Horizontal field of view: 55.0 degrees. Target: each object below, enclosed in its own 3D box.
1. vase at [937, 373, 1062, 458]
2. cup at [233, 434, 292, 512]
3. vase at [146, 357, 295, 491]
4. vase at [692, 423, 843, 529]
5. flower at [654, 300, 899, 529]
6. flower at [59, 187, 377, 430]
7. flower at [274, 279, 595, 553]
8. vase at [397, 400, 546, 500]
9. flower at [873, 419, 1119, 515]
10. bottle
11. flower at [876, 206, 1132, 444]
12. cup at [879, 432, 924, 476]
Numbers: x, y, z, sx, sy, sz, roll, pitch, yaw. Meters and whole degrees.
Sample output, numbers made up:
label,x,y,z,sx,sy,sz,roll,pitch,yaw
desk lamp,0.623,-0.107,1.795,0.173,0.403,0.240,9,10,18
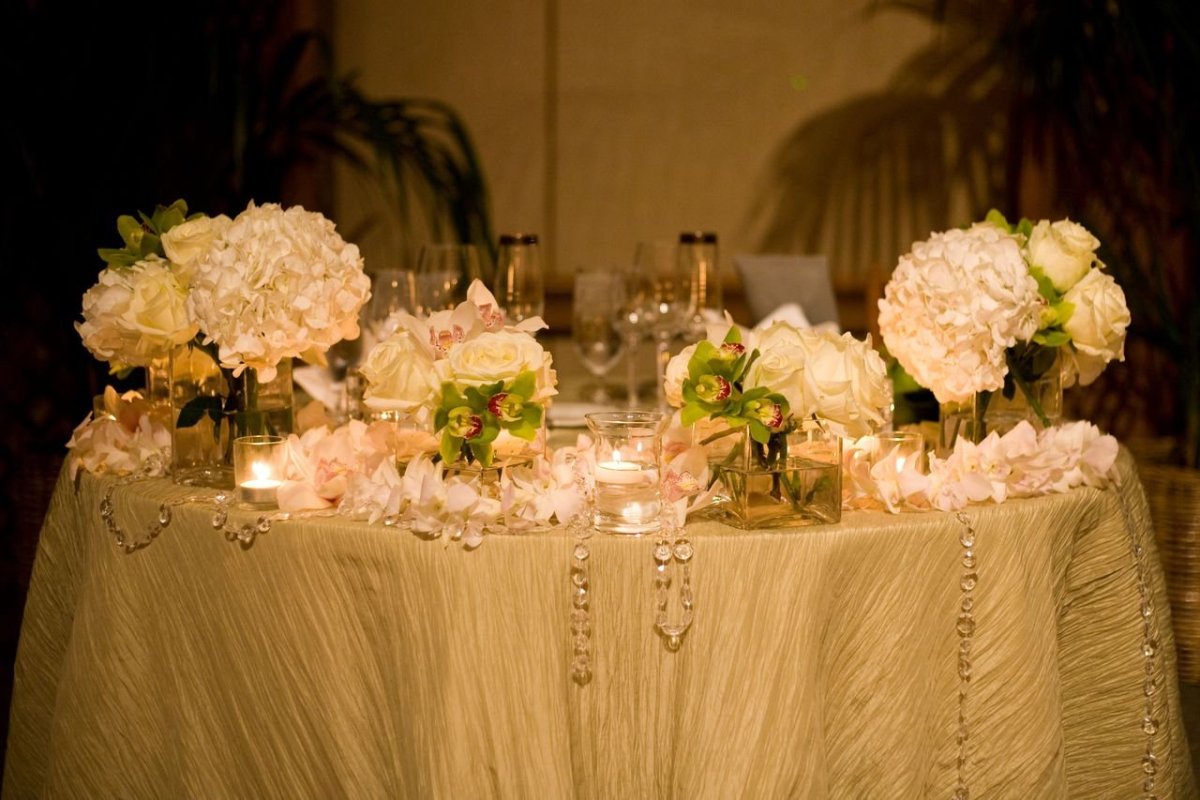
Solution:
label,x,y,z,sx,sy,sz,roll,pitch,yaw
vase,0.791,0.029,2.298,0.163,0.223,0.184,0,1,30
cup,-0.628,0.133,2.119,0.102,0.141,0.105,1,4,0
vase,-0.733,0.044,2.277,0.211,0.307,0.239,0,0,3
vase,0.321,0.148,2.093,0.174,0.206,0.182,0,-1,32
flower,0.317,0.062,2.167,0.341,0.410,0.377,1,-5,-16
flower,-0.738,-0.082,2.261,0.419,0.510,0.480,0,-13,-5
flower,-0.236,0.116,2.149,0.379,0.295,0.364,-21,-14,37
vase,-0.248,0.061,2.141,0.168,0.129,0.229,17,-9,2
flower,0.752,0.131,2.166,0.326,0.125,0.224,-9,19,-10
bottle,0.043,0.117,2.053,0.165,0.255,0.167,0,5,0
flower,0.806,-0.200,2.332,0.412,0.504,0.427,11,29,40
cup,0.581,0.102,2.223,0.064,0.092,0.075,1,5,13
